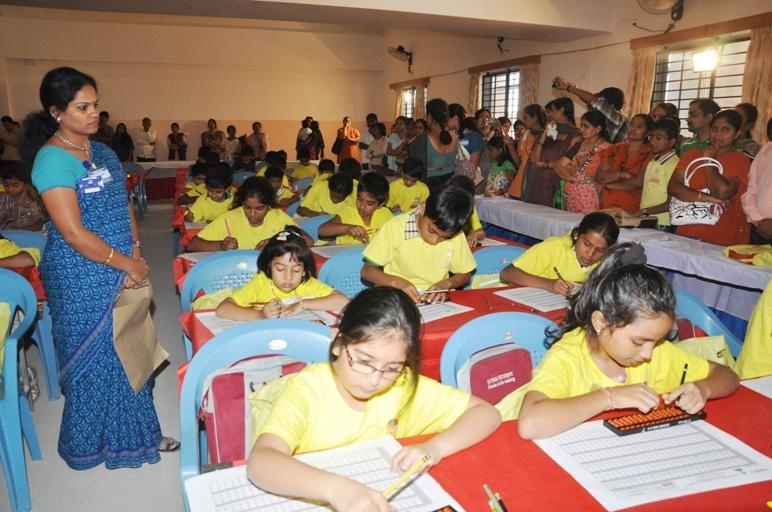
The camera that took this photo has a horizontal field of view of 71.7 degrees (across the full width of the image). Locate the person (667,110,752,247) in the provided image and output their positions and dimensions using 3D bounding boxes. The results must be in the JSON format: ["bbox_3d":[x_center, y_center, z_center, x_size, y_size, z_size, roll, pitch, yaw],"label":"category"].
[{"bbox_3d":[2.243,-0.383,3.731,0.355,1.208,0.456,-25,30,-34],"label":"person"}]

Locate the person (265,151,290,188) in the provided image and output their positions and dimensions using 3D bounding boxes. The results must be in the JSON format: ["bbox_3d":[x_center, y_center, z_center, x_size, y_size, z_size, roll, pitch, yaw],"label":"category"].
[{"bbox_3d":[-1.326,-1.136,6.653,0.313,0.365,0.955,-2,29,-11],"label":"person"}]

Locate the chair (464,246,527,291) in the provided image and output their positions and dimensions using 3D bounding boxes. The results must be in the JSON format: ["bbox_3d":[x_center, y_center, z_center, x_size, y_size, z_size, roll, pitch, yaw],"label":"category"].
[{"bbox_3d":[0.636,0.034,3.151,0.250,0.323,0.296,-5,22,-18],"label":"chair"}]

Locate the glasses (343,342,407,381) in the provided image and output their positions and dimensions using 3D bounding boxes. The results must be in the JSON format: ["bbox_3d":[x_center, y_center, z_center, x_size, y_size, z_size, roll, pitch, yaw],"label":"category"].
[{"bbox_3d":[-0.033,0.340,1.681,0.190,0.097,0.060,-2,16,-8],"label":"glasses"}]

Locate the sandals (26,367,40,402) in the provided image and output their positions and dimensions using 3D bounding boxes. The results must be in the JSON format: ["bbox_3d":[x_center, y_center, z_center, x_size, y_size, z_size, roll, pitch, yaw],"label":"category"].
[{"bbox_3d":[-2.055,0.757,3.121,0.052,0.193,0.190,2,-16,-29],"label":"sandals"}]

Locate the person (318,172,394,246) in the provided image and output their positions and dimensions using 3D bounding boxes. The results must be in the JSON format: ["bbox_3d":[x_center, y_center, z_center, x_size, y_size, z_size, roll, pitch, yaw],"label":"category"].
[{"bbox_3d":[-0.240,-0.346,3.967,0.468,0.803,0.371,12,54,-13],"label":"person"}]

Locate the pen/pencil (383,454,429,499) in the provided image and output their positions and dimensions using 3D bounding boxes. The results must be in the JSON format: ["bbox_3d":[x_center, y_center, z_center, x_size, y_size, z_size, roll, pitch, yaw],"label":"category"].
[{"bbox_3d":[0.061,0.662,1.577,0.157,0.022,0.021,-34,-8,-29],"label":"pen/pencil"}]

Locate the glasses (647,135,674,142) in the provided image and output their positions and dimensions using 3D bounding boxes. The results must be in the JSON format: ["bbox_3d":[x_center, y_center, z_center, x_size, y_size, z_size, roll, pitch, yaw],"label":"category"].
[{"bbox_3d":[2.069,-0.888,3.990,0.101,0.037,0.075,-11,21,-34],"label":"glasses"}]

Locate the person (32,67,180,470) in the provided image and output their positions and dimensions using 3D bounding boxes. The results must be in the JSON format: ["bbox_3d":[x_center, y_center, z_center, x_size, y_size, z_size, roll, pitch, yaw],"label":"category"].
[{"bbox_3d":[-1.359,0.119,2.506,0.536,1.921,0.363,-10,19,-32],"label":"person"}]

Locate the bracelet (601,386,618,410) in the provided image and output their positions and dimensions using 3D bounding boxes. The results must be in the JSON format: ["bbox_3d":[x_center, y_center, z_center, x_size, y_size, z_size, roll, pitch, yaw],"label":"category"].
[{"bbox_3d":[0.748,0.481,1.788,0.019,0.059,0.041,-30,-20,35],"label":"bracelet"}]

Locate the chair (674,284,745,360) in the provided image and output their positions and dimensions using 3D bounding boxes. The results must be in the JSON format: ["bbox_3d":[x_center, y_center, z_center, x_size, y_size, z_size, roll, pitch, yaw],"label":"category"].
[{"bbox_3d":[1.558,0.320,2.559,0.269,0.326,0.241,-9,24,-6],"label":"chair"}]

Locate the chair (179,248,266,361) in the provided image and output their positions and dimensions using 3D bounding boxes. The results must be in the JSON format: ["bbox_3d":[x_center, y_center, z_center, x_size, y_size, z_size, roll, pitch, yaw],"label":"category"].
[{"bbox_3d":[-0.864,0.226,2.990,0.522,0.690,0.524,-4,18,-20],"label":"chair"}]

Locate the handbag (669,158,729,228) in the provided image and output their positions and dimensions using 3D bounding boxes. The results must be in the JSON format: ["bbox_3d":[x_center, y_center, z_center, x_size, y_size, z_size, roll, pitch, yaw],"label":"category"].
[{"bbox_3d":[2.121,-0.435,3.603,0.367,0.533,0.193,13,19,41],"label":"handbag"}]

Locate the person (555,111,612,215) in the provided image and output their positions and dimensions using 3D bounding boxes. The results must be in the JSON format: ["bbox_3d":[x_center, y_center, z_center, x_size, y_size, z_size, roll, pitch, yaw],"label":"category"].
[{"bbox_3d":[1.737,-0.691,4.825,0.311,1.183,0.418,-25,36,-30],"label":"person"}]

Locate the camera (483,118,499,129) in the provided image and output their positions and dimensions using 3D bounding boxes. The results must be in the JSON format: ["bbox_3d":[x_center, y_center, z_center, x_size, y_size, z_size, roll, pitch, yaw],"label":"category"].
[{"bbox_3d":[1.230,-1.583,6.264,0.163,0.101,0.374,4,17,10],"label":"camera"}]

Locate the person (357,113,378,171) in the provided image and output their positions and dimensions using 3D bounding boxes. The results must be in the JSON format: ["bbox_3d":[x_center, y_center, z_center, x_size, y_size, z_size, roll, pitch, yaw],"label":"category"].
[{"bbox_3d":[-0.263,-1.867,9.082,0.374,1.307,0.359,-1,-14,7],"label":"person"}]

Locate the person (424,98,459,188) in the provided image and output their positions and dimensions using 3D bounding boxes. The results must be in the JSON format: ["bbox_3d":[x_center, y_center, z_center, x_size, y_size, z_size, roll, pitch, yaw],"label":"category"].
[{"bbox_3d":[0.561,-1.153,5.384,0.318,0.865,0.627,2,16,6],"label":"person"}]

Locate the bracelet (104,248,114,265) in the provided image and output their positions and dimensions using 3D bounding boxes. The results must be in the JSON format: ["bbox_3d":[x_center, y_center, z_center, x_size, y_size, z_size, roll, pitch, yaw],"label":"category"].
[{"bbox_3d":[-1.230,-0.002,2.396,0.014,0.060,0.050,27,-1,-21],"label":"bracelet"}]
